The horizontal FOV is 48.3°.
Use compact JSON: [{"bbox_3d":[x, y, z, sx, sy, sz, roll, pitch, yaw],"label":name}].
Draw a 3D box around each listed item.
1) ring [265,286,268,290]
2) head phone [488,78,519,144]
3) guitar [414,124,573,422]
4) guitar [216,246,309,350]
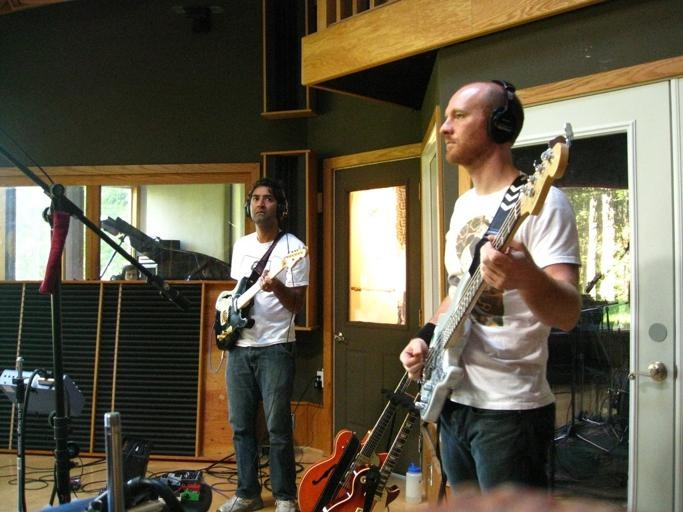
[{"bbox_3d":[-0.518,0.213,5.250,0.013,0.019,0.005,-2,20,4],"label":"ring"},{"bbox_3d":[0.819,-0.753,3.913,0.121,0.291,0.318,10,8,-3],"label":"head phone"},{"bbox_3d":[0.703,0.118,3.659,0.259,1.356,1.045,6,-10,-32],"label":"guitar"},{"bbox_3d":[-0.627,0.312,5.517,0.856,0.709,0.335,-7,-11,40],"label":"guitar"}]
